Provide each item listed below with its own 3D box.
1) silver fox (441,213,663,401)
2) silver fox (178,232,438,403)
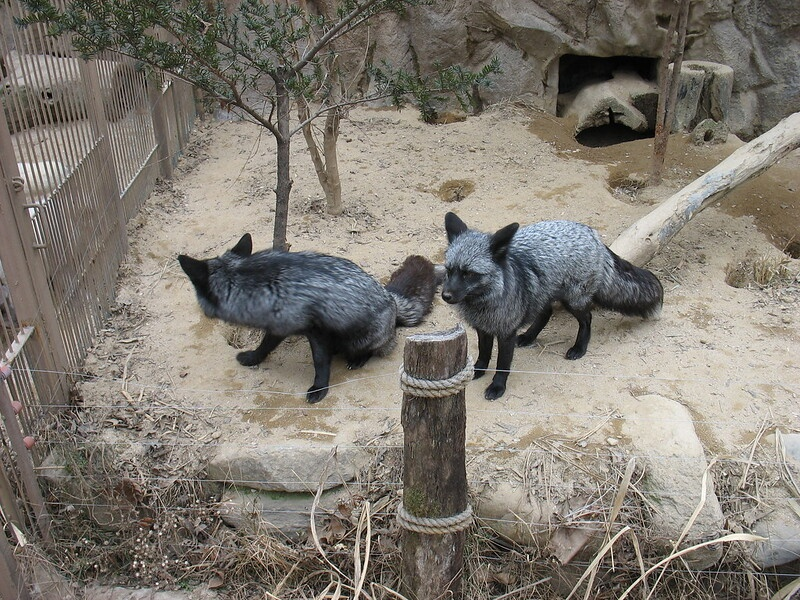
[{"bbox_3d":[1.496,-0.141,6.670,2.466,1.619,0.721,-15,27,-26],"label":"silver fox"},{"bbox_3d":[-0.705,0.083,6.489,2.192,1.280,0.930,-11,24,-18],"label":"silver fox"}]
